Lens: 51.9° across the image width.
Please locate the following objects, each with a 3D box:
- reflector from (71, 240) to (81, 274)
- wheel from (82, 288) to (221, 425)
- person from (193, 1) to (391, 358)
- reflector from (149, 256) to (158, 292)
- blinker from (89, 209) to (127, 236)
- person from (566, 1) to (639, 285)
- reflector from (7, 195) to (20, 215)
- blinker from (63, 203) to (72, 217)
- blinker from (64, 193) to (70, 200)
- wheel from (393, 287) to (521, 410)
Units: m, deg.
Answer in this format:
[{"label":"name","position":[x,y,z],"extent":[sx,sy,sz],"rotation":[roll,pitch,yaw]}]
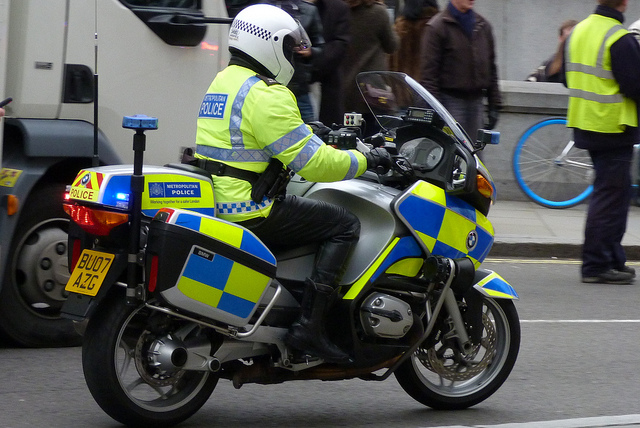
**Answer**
[{"label":"reflector","position":[-1.395,0.240,3.759],"extent":[0.052,0.170,0.129],"rotation":[1,10,-13]},{"label":"wheel","position":[-0.963,0.804,3.760],"extent":[0.730,0.834,0.227],"rotation":[-2,11,-25]},{"label":"person","position":[-0.250,-0.211,4.010],"extent":[1.055,2.075,0.531],"rotation":[6,10,13]},{"label":"reflector","position":[-0.888,0.321,3.517],"extent":[0.055,0.186,0.034],"rotation":[10,12,31]},{"label":"blinker","position":[-1.146,0.039,3.574],"extent":[0.137,0.089,0.023],"rotation":[8,7,12]},{"label":"person","position":[3.342,-0.806,7.802],"extent":[1.001,3.313,0.436],"rotation":[7,11,18]},{"label":"reflector","position":[-2.256,-0.063,4.851],"extent":[0.081,0.138,0.024],"rotation":[-1,11,-25]},{"label":"blinker","position":[-1.561,-0.026,4.069],"extent":[0.032,0.088,0.063],"rotation":[-14,10,-21]},{"label":"blinker","position":[-1.441,-0.095,3.755],"extent":[0.039,0.037,0.010],"rotation":[7,-4,45]},{"label":"wheel","position":[0.925,0.920,4.477],"extent":[0.875,0.920,0.169],"rotation":[2,16,-23]}]
